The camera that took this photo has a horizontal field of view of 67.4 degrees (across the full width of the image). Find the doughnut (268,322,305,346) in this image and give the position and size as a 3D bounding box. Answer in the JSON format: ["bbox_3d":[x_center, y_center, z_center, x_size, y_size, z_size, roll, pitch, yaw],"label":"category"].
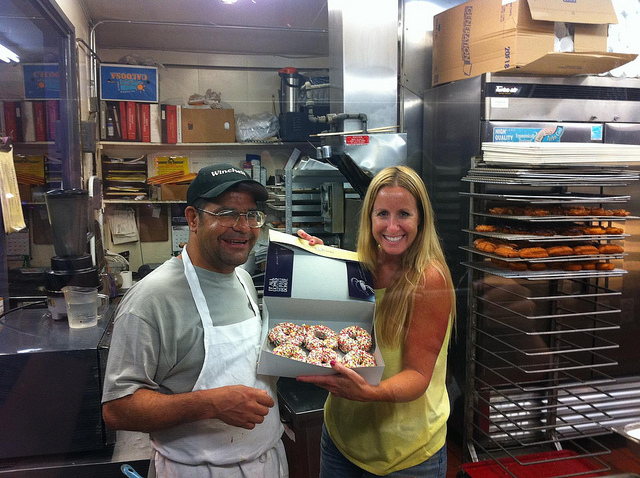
[{"bbox_3d":[-0.089,0.261,1.327,0.065,0.017,0.062,-2,14,-29],"label":"doughnut"}]

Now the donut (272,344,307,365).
[{"bbox_3d":[-0.077,0.297,1.254,0.085,0.029,0.072,-3,9,0],"label":"donut"}]

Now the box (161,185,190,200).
[{"bbox_3d":[-0.443,-0.143,1.472,0.069,0.038,0.065,-1,6,-5],"label":"box"}]

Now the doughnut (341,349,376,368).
[{"bbox_3d":[0.100,0.315,1.271,0.088,0.028,0.087,-3,9,1],"label":"doughnut"}]

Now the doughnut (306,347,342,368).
[{"bbox_3d":[0.013,0.308,1.263,0.089,0.025,0.085,-2,9,5],"label":"doughnut"}]

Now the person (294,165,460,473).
[{"bbox_3d":[0.189,0.274,1.422,0.505,0.963,0.380,-5,10,-7],"label":"person"}]

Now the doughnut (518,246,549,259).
[{"bbox_3d":[0.724,0.044,1.632,0.097,0.035,0.032,-3,10,2],"label":"doughnut"}]

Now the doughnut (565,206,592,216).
[{"bbox_3d":[0.873,-0.095,1.622,0.068,0.027,0.078,-12,13,-43],"label":"doughnut"}]

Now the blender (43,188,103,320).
[{"bbox_3d":[-0.930,0.060,1.789,0.200,0.488,0.111,-10,12,-30],"label":"blender"}]

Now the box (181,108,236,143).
[{"bbox_3d":[-0.343,-0.350,1.502,0.165,0.087,0.082,-1,16,-11],"label":"box"}]

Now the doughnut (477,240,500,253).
[{"bbox_3d":[0.611,0.026,1.753,0.052,0.016,0.050,8,35,45],"label":"doughnut"}]

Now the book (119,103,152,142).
[{"bbox_3d":[-0.578,-0.357,1.473,0.079,0.089,0.096,-5,17,-6],"label":"book"}]

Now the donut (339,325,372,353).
[{"bbox_3d":[0.096,0.280,1.338,0.078,0.058,0.087,3,11,33],"label":"donut"}]

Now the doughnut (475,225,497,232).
[{"bbox_3d":[0.621,-0.041,1.802,0.069,0.019,0.067,-2,9,6],"label":"doughnut"}]

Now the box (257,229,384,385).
[{"bbox_3d":[0.008,0.197,1.393,0.421,0.144,0.498,14,33,-12],"label":"box"}]

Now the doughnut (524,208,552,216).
[{"bbox_3d":[0.748,-0.093,1.653,0.081,0.020,0.047,-1,10,10],"label":"doughnut"}]
